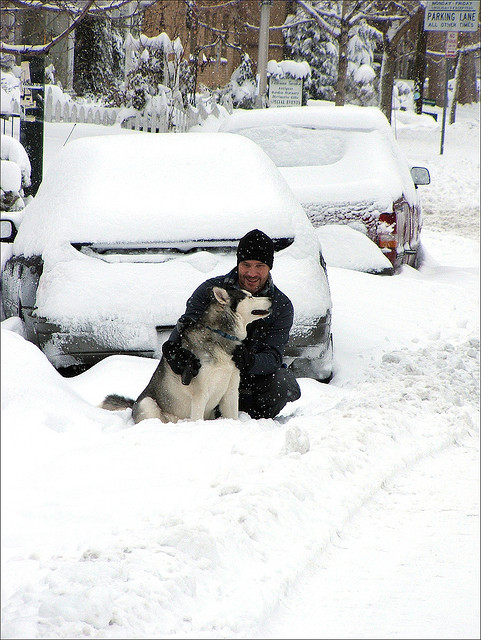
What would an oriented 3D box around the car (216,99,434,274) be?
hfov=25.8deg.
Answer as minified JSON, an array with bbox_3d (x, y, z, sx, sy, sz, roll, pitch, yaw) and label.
[{"bbox_3d":[1.009,-1.147,10.356,1.412,1.142,2.318,2,27,7],"label":"car"}]

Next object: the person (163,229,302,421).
[{"bbox_3d":[-0.013,0.045,6.565,0.894,1.151,0.709,7,27,-5],"label":"person"}]

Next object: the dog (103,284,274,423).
[{"bbox_3d":[-0.374,0.323,6.441,1.140,0.941,0.466,-6,-6,21],"label":"dog"}]
